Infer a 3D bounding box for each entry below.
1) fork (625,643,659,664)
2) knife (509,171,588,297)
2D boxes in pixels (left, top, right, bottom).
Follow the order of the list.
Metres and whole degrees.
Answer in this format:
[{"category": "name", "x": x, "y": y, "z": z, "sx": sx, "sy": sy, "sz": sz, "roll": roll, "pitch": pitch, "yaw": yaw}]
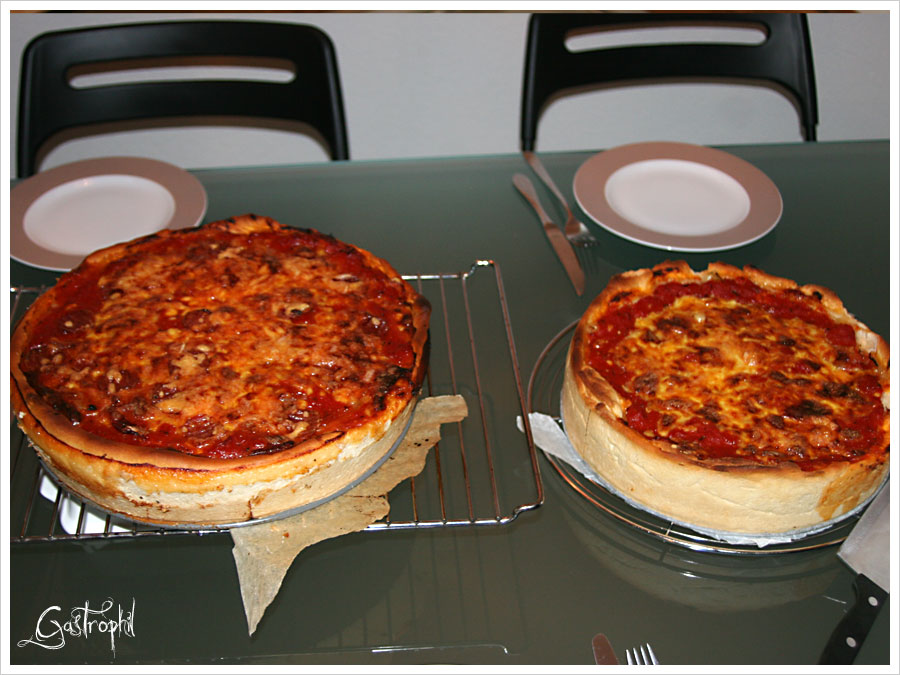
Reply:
[{"category": "fork", "x": 0.284, "y": 0.475, "z": 1.116, "sx": 0.049, "sy": 0.020, "sz": 0.030, "roll": -9, "pitch": 61, "yaw": -3}, {"category": "knife", "x": 0.201, "y": -0.271, "z": 1.793, "sx": 0.070, "sy": 0.048, "sz": 0.483, "roll": -21, "pitch": 45, "yaw": -5}]
